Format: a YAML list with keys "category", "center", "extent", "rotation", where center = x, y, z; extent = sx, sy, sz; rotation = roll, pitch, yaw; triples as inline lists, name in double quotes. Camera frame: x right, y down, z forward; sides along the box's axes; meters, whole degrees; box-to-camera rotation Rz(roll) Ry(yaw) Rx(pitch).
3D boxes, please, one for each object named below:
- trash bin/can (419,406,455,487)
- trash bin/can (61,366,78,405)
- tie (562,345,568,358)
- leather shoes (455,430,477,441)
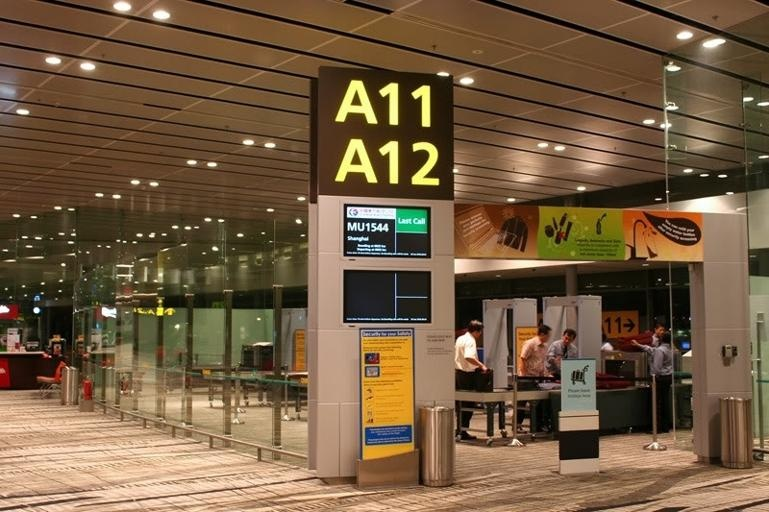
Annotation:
- category: "trash bin/can"
  center: [0.696, 2.519, 7.972]
  extent: [0.460, 1.011, 0.233]
  rotation: [-1, -7, 1]
- category: "trash bin/can"
  center: [-9.266, 3.808, 17.639]
  extent: [0.461, 1.076, 0.383]
  rotation: [2, -7, -16]
- category: "tie"
  center: [3.574, 1.855, 11.729]
  extent: [0.084, 0.197, 0.220]
  rotation: [-5, -8, 35]
- category: "leather shoes"
  center: [1.629, 3.431, 11.532]
  extent: [0.288, 0.171, 0.579]
  rotation: [-5, -8, 34]
